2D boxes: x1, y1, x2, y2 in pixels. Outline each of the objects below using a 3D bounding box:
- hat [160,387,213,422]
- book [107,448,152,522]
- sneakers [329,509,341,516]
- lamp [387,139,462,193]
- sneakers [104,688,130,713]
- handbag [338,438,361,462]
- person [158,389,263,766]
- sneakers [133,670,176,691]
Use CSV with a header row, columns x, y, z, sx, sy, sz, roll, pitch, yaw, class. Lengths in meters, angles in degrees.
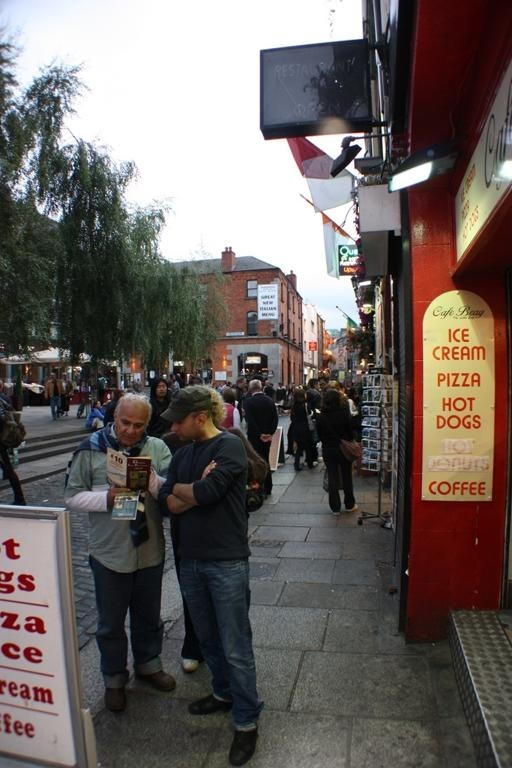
x,y,z,sx,sy,sz,roll,pitch,yaw,class
-0.335,0.069,2.803,0.222,0.125,0.144,-14,15,-28,hat
-0.598,0.498,2.814,0.243,0.353,0.125,6,8,23,book
1.026,1.627,7.405,0.126,0.069,0.193,-1,-1,5,sneakers
0.922,-1.157,3.200,0.316,0.125,0.185,-19,-13,39,lamp
-0.723,1.591,2.977,0.115,0.107,0.182,-1,-1,-14,sneakers
1.150,0.818,7.185,0.258,0.277,0.109,5,-21,-36,handbag
-0.186,0.826,2.768,0.397,1.643,0.590,0,-1,-38,person
-0.553,1.593,3.163,0.230,0.106,0.089,-9,-9,30,sneakers
